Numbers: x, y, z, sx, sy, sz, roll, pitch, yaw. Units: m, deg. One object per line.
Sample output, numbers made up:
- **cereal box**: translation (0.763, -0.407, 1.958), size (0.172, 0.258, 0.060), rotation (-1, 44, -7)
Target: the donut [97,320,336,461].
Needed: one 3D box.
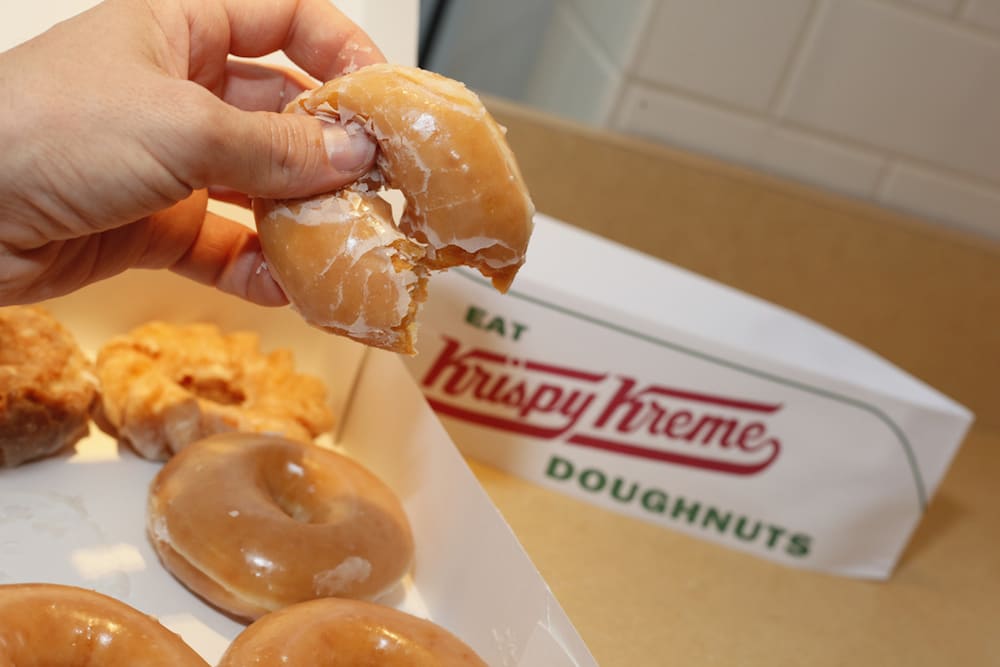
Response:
- **donut**: translation (-0.587, 0.112, 1.807), size (0.320, 0.115, 0.329), rotation (15, 19, -33)

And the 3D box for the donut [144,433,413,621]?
- **donut**: translation (-0.392, 0.325, 1.544), size (0.334, 0.132, 0.344), rotation (38, 19, 20)
